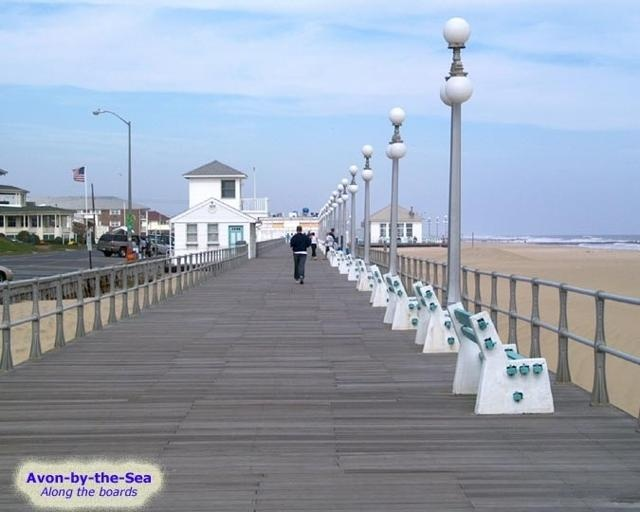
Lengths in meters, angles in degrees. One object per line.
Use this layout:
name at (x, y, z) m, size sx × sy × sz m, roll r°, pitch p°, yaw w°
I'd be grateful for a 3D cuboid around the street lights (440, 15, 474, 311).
street lights at (2.088, -1.454, 13.605) m, size 0.549 × 4.301 × 0.561 m, roll -1°, pitch 2°, yaw -23°

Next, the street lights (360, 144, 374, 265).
street lights at (1.608, -1.687, 30.904) m, size 0.582 × 4.273 × 0.525 m, roll -12°, pitch 18°, yaw -40°

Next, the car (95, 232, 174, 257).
car at (-14.644, -0.860, 70.174) m, size 2.261 × 2.715 × 5.997 m, roll 0°, pitch 1°, yaw 36°

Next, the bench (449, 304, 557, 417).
bench at (2.110, 1.180, 10.294) m, size 0.759 × 1.113 × 1.633 m, roll -2°, pitch -1°, yaw 4°

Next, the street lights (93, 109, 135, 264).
street lights at (-1.831, -0.593, 8.010) m, size 0.419 × 1.527 × 0.148 m, roll 14°, pitch 34°, yaw 8°
